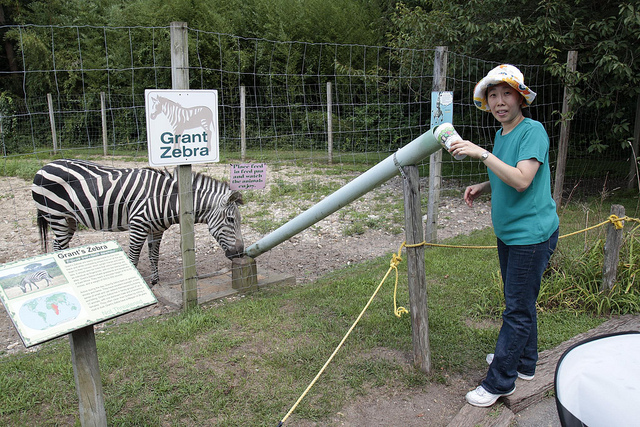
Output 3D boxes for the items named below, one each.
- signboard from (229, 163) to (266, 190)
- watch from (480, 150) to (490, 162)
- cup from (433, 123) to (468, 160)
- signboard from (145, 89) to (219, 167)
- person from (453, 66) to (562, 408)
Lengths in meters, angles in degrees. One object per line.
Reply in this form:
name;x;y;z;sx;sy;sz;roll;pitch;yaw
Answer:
signboard;-1.176;-0.582;8.398;0.460;0.360;0.009;-1;9;-11
watch;1.829;-0.637;5.822;0.073;0.118;0.111;37;17;16
cup;1.517;-0.800;6.087;0.327;0.574;0.342;6;-21;2
signboard;-2.041;-1.260;7.648;0.988;1.077;0.052;-8;17;-25
person;2.275;0.285;6.150;0.979;3.876;1.302;3;15;25
